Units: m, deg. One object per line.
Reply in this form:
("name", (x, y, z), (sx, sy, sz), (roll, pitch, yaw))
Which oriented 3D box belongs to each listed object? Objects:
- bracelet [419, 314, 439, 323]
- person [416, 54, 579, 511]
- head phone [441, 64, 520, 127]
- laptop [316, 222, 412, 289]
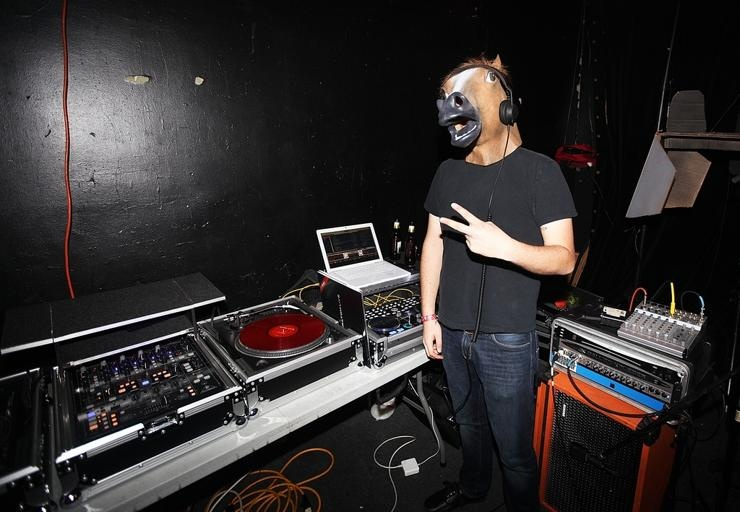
("bracelet", (0.315, 0.329, 2.629), (0.054, 0.022, 0.055), (-5, 4, 34))
("person", (0.633, 0.241, 2.513), (0.781, 2.349, 0.590), (0, 20, 23))
("head phone", (0.550, -0.740, 2.320), (0.292, 0.267, 0.107), (-15, 13, -6))
("laptop", (-0.040, -0.120, 2.951), (0.452, 0.283, 0.439), (-13, 25, -34))
